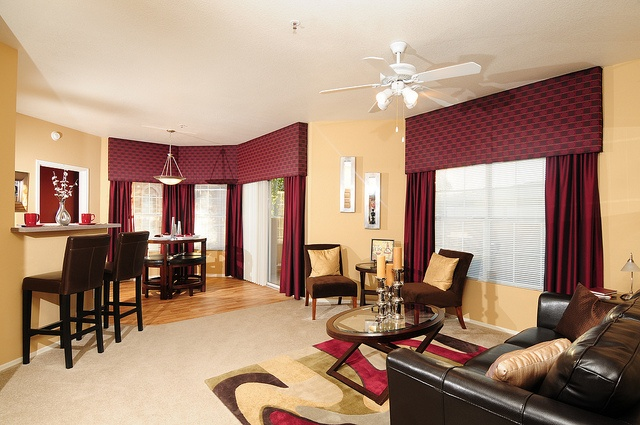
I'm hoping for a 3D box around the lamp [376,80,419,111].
[{"bbox_3d":[0.962,-1.470,5.190,0.546,0.127,0.470,-3,-17,23],"label":"lamp"}]

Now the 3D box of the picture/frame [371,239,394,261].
[{"bbox_3d":[0.997,0.600,6.568,0.393,0.326,0.040,0,-6,38],"label":"picture/frame"}]

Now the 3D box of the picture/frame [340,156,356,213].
[{"bbox_3d":[0.496,-0.474,7.281,0.273,0.959,0.141,1,7,4],"label":"picture/frame"}]

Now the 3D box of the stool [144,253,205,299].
[{"bbox_3d":[-2.661,1.181,7.835,0.998,0.511,0.980,0,0,-41],"label":"stool"}]

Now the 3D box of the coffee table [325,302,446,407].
[{"bbox_3d":[0.742,1.474,4.661,1.130,0.430,0.973,-5,2,-39],"label":"coffee table"}]

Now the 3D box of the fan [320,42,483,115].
[{"bbox_3d":[1.034,-1.506,4.763,1.159,0.423,1.169,6,-10,-33],"label":"fan"}]

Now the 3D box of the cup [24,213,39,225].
[{"bbox_3d":[-3.450,0.095,5.083,0.133,0.160,0.198,-2,-4,22],"label":"cup"}]

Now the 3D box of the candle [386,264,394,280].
[{"bbox_3d":[0.860,0.724,5.090,0.093,0.201,0.322,2,5,9],"label":"candle"}]

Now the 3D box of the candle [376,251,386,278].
[{"bbox_3d":[0.715,0.629,4.793,0.086,0.287,0.222,2,6,14],"label":"candle"}]

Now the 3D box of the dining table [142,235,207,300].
[{"bbox_3d":[-2.754,1.021,8.076,1.238,1.077,1.246,1,1,25],"label":"dining table"}]

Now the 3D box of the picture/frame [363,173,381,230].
[{"bbox_3d":[0.914,-0.188,7.177,0.284,0.967,0.134,1,7,6],"label":"picture/frame"}]
